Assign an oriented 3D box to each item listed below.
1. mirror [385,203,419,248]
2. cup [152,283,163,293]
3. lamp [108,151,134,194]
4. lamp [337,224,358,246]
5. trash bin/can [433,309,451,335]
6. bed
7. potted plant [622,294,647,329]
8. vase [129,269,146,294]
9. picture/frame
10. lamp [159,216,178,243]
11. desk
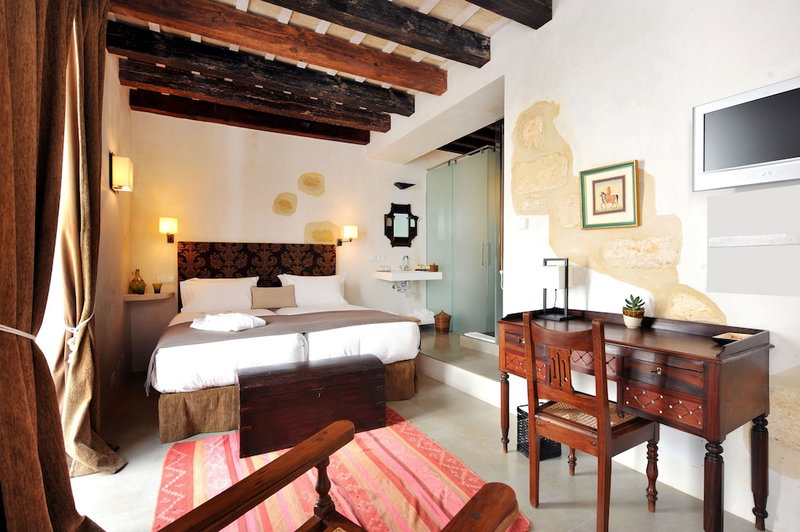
[{"bbox_3d":[-0.004,-0.598,7.788,0.667,0.754,0.080,0,-1,-35],"label":"mirror"},{"bbox_3d":[-2.725,0.259,6.039,0.111,0.117,0.109,-1,-12,0],"label":"cup"},{"bbox_3d":[-2.705,-0.916,5.159,0.178,0.305,0.302,-1,13,-31],"label":"lamp"},{"bbox_3d":[-0.702,-0.419,7.233,0.210,0.315,0.323,1,-2,-42],"label":"lamp"},{"bbox_3d":[0.605,0.762,7.326,0.264,0.279,0.297,-2,4,-15],"label":"trash bin/can"},{"bbox_3d":[-1.232,0.554,5.841,2.842,1.621,2.989,-3,3,-7],"label":"bed"},{"bbox_3d":[1.737,0.345,3.978,0.150,0.221,0.146,-2,10,-13],"label":"potted plant"},{"bbox_3d":[-2.888,0.170,5.880,0.178,0.264,0.410,-3,4,-25],"label":"vase"},{"bbox_3d":[1.649,-0.558,4.145,0.069,0.653,0.552,0,-2,-41],"label":"picture/frame"},{"bbox_3d":[-2.642,-0.404,6.130,0.204,0.305,0.243,-3,4,-23],"label":"lamp"},{"bbox_3d":[1.621,1.050,3.571,0.609,1.042,1.467,-2,1,-38],"label":"desk"}]
